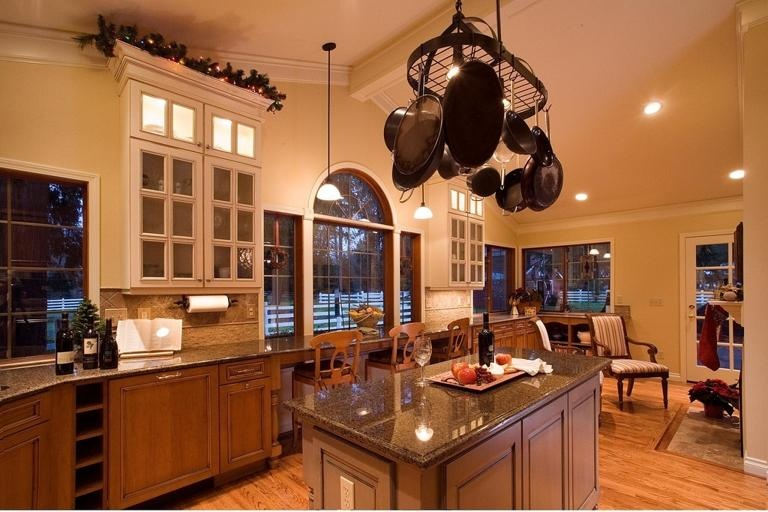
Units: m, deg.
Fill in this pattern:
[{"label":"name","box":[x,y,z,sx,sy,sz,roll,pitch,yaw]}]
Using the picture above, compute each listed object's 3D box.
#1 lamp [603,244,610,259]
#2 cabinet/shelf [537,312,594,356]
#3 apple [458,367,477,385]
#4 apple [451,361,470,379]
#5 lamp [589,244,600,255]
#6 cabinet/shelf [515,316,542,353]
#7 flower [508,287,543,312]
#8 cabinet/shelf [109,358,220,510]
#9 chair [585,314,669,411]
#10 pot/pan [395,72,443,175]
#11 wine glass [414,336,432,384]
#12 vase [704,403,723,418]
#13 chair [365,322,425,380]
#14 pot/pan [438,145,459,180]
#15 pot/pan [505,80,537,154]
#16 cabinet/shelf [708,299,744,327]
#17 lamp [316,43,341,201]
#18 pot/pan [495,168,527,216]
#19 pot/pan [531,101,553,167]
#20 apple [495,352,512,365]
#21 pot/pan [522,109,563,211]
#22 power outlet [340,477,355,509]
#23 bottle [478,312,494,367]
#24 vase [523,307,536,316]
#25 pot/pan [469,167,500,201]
[{"label":"lamp","box":[3.485,-0.072,8.275,0.130,0.211,0.075,11,15,42]},{"label":"cabinet/shelf","box":[2.634,1.119,7.604,0.660,0.638,0.224,-7,-11,40]},{"label":"apple","box":[0.634,0.905,4.031,0.117,0.112,0.117,-3,-3,-10]},{"label":"apple","box":[0.590,0.881,4.138,0.110,0.105,0.109,-3,-1,-34]},{"label":"lamp","box":[3.327,-0.093,8.413,0.118,0.134,0.122,0,-7,1]},{"label":"cabinet/shelf","box":[2.137,1.255,8.252,0.525,0.505,0.193,2,-3,-36]},{"label":"flower","box":[2.335,0.713,8.738,0.381,0.308,0.450,1,-4,2]},{"label":"cabinet/shelf","box":[-2.000,1.500,5.021,1.086,1.484,0.957,4,-7,-43]},{"label":"chair","box":[3.072,1.313,6.780,0.697,1.139,0.792,-1,-5,-8]},{"label":"pot/pan","box":[0.238,-0.851,3.538,0.319,0.540,0.078,7,-5,38]},{"label":"wine glass","box":[0.297,0.784,4.209,0.121,0.386,0.311,1,11,3]},{"label":"vase","box":[3.828,1.778,6.158,0.182,0.180,0.102,-1,-2,26]},{"label":"chair","box":[0.118,1.219,6.206,0.643,0.899,0.665,3,-3,-27]},{"label":"pot/pan","box":[0.484,-0.691,3.944,0.178,0.122,0.245,1,-9,3]},{"label":"pot/pan","box":[0.957,-0.928,3.817,0.120,0.543,0.303,-15,-10,35]},{"label":"cabinet/shelf","box":[3.506,0.542,5.449,0.297,0.340,0.350,-4,-6,37]},{"label":"lamp","box":[-0.625,-1.503,5.947,0.341,1.656,0.340,1,3,2]},{"label":"pot/pan","box":[1.043,-0.510,4.199,0.275,0.359,0.273,11,15,43]},{"label":"pot/pan","box":[1.168,-0.893,3.917,0.068,0.408,0.242,-4,0,29]},{"label":"apple","box":[0.981,0.836,4.373,0.139,0.070,0.123,-1,11,-11]},{"label":"pot/pan","box":[1.180,-0.698,4.013,0.092,0.712,0.423,0,10,45]},{"label":"power outlet","box":[-0.255,1.604,3.603,0.128,0.210,0.052,9,14,38]},{"label":"bottle","box":[0.834,0.657,4.300,0.124,0.443,0.171,3,11,11]},{"label":"vase","box":[2.335,0.877,8.478,0.135,0.106,0.138,-1,-3,17]},{"label":"pot/pan","box":[0.812,-0.595,4.295,0.236,0.244,0.145,13,14,-4]}]
